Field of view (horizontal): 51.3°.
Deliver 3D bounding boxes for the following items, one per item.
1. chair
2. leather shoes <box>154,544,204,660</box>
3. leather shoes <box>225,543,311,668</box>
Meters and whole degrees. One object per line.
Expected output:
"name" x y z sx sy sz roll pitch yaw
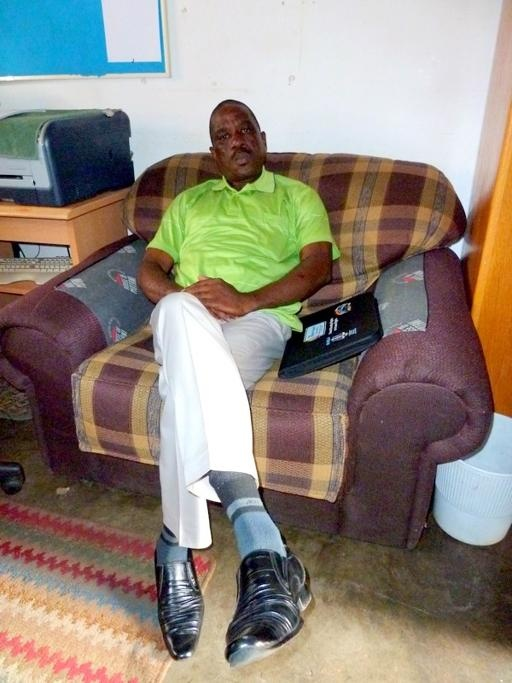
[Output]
"chair" -0.006 0.034 1.393 1.029 0.691 0.572 5 30 14
"leather shoes" -0.157 0.551 1.149 0.078 0.067 0.220 -4 36 -10
"leather shoes" 0.021 0.448 0.948 0.099 0.107 0.229 -18 0 11
